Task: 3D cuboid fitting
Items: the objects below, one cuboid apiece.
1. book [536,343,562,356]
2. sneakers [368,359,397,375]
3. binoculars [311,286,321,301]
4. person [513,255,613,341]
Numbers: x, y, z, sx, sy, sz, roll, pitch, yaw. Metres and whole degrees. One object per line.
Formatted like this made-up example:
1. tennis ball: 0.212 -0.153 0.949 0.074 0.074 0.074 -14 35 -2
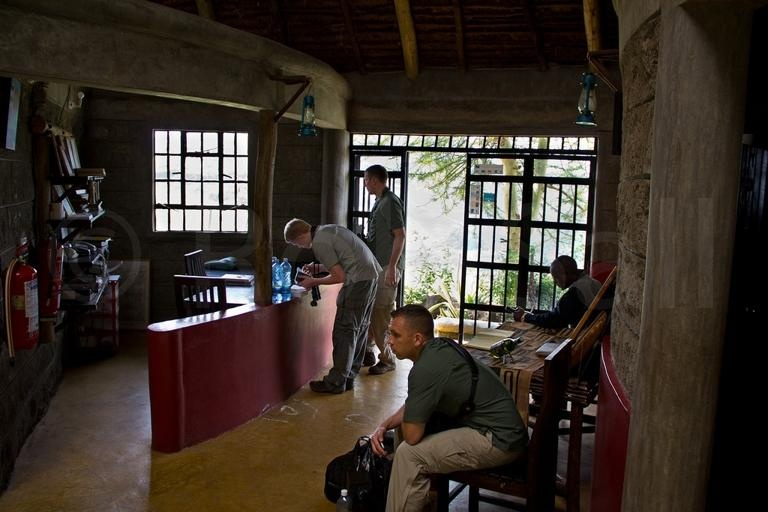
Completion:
1. book: 1.267 0.723 4.306 0.155 0.038 0.155 -7 12 40
2. sneakers: -0.026 1.360 6.752 0.123 0.121 0.303 -5 -8 38
3. binoculars: -0.730 0.403 5.980 0.042 0.151 0.157 4 -4 -11
4. person: 1.725 0.369 5.263 0.776 0.593 0.591 -15 7 42
